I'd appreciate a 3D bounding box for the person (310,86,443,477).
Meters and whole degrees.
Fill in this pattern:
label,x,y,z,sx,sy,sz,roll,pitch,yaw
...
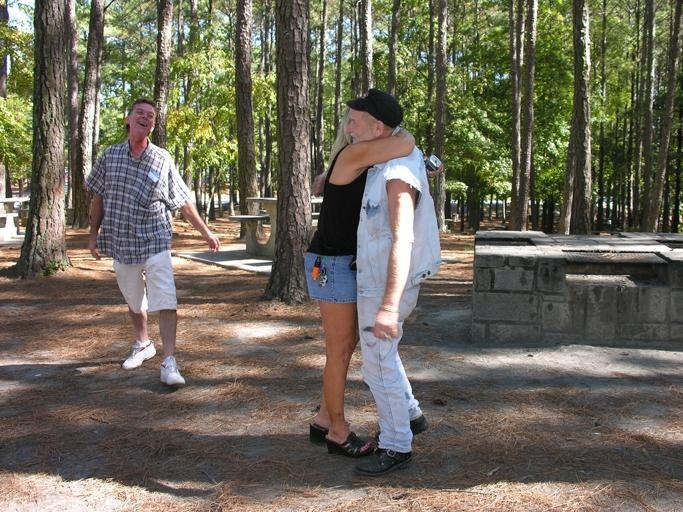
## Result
label,x,y,z,sx,sy,sz,roll,pitch,yaw
person,0.366,0.155,4.028,0.582,2.426,0.651,-2,10,2

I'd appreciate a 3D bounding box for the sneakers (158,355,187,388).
label,x,y,z,sx,sy,sz,roll,pitch,yaw
sneakers,-1.528,1.035,5.577,0.221,0.259,0.298,-4,9,-16

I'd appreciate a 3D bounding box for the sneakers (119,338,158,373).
label,x,y,z,sx,sy,sz,roll,pitch,yaw
sneakers,-2.058,0.973,6.105,0.170,0.180,0.444,0,12,21

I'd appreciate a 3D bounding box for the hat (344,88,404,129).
label,x,y,z,sx,sy,sz,roll,pitch,yaw
hat,0.231,-0.937,4.074,0.347,0.154,0.226,25,26,-9

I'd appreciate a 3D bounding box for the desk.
label,x,y,z,sx,sy,sz,roll,pitch,yaw
desk,-1.403,-0.702,16.211,1.560,1.439,2.567,8,6,44

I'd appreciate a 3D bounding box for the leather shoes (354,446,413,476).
label,x,y,z,sx,sy,sz,roll,pitch,yaw
leather shoes,0.265,1.331,4.076,0.368,0.146,0.143,-3,7,-17

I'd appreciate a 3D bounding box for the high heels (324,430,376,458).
label,x,y,z,sx,sy,sz,roll,pitch,yaw
high heels,0.061,1.291,4.277,0.306,0.108,0.162,0,2,4
